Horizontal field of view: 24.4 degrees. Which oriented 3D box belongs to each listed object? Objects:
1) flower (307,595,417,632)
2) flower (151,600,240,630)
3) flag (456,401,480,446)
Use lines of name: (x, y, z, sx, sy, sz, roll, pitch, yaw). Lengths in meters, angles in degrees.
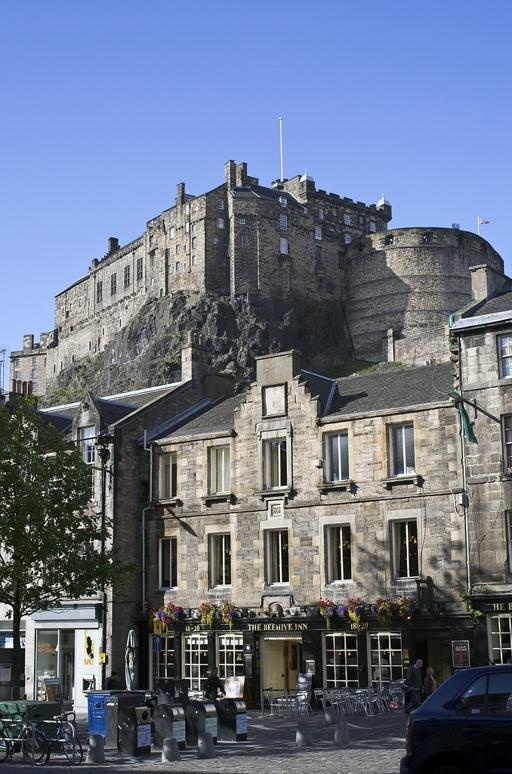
flower: (2.955, 6.278, 32.674, 3.380, 0.877, 0.611, -15, -18, 41)
flower: (-1.727, 7.223, 36.282, 2.610, 1.063, 0.946, -3, 1, 16)
flag: (5.652, 0.973, 31.331, 0.227, 1.205, 0.366, -29, -63, 21)
